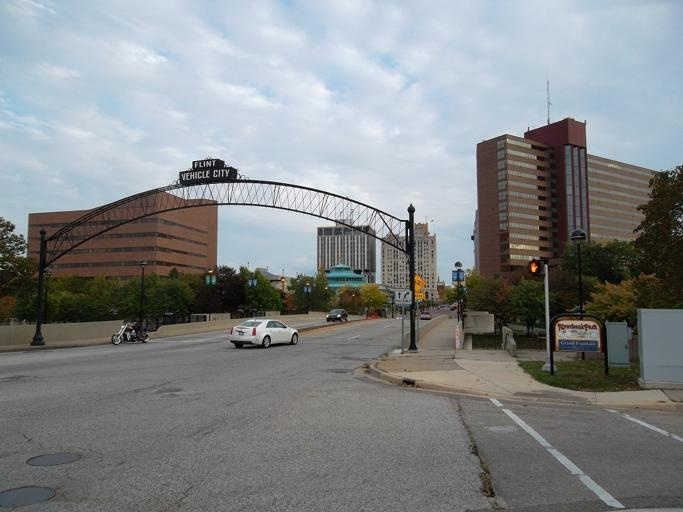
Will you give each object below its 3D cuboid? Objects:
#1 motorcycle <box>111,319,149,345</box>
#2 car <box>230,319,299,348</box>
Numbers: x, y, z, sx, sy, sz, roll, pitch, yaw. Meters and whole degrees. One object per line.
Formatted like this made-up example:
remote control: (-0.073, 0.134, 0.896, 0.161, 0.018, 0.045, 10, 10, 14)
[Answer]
motorcycle: (-12.028, 4.349, 30.853, 1.142, 1.181, 2.137, -7, -14, 34)
car: (-3.899, 3.970, 28.242, 1.462, 1.205, 3.382, -3, -2, 34)
